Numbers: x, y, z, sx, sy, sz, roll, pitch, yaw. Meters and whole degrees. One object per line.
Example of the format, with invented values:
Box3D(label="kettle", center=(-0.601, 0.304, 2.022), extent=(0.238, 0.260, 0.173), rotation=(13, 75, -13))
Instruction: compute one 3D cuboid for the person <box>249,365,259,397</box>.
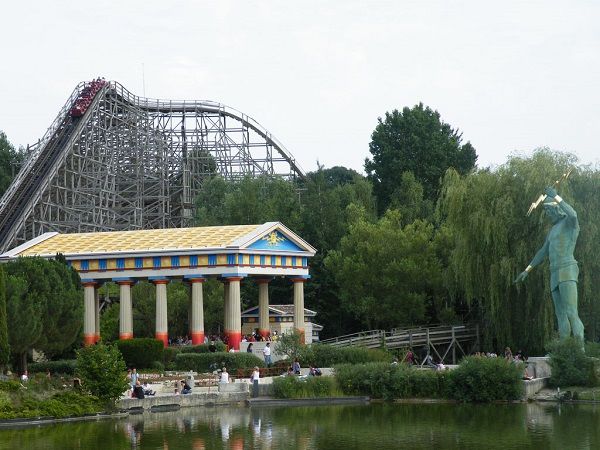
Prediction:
Box3D(label="person", center=(-2.414, 8.395, 61.134), extent=(0.431, 1.657, 1.416), rotation=(-2, -12, -2))

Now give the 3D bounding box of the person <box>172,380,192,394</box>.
Box3D(label="person", center=(-6.165, 8.581, 60.225), extent=(0.681, 0.757, 0.751), rotation=(3, -6, -3))

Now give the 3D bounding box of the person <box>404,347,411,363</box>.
Box3D(label="person", center=(6.913, 8.395, 72.853), extent=(0.470, 1.079, 0.613), rotation=(10, -55, 5))
